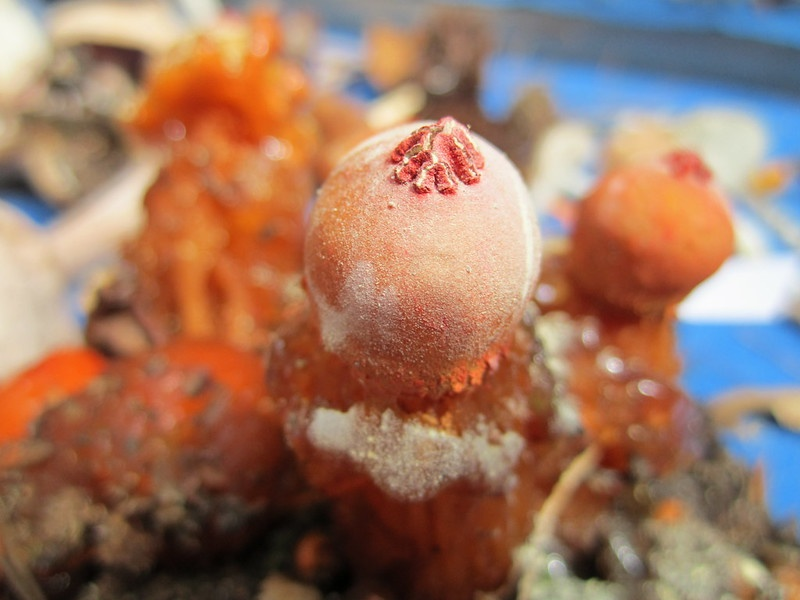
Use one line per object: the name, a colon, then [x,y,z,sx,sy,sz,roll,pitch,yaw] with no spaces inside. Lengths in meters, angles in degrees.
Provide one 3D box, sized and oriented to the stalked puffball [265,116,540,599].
stalked puffball: [0.008,0.090,0.985,0.297,0.532,0.313,-13,30,-23]
